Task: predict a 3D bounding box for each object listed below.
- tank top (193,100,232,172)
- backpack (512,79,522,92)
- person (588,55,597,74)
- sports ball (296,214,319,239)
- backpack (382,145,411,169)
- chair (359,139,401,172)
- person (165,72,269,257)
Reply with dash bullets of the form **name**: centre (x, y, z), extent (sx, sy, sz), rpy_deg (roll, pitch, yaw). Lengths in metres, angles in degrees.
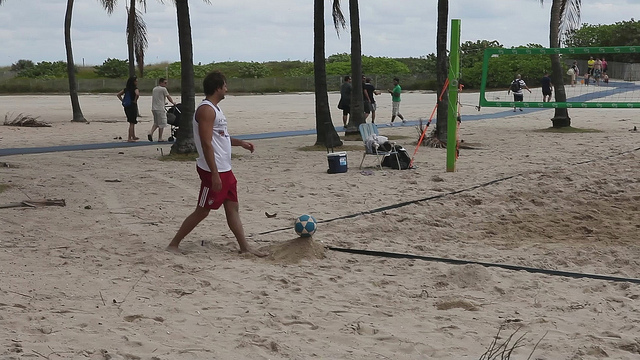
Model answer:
- **tank top**: centre (-1.397, -0.570, 6.636), extent (0.467, 0.921, 0.420), rpy_deg (-1, 15, -9)
- **backpack**: centre (10.389, -5.026, 26.821), extent (0.444, 0.511, 0.572), rpy_deg (13, -21, 28)
- **person**: centre (22.411, -9.356, 41.752), extent (0.781, 1.290, 2.691), rpy_deg (8, 15, 26)
- **sports ball**: centre (-0.182, 0.686, 7.285), extent (0.277, 0.238, 0.276), rpy_deg (-13, -36, -10)
- **backpack**: centre (1.822, -0.539, 12.006), extent (0.662, 0.540, 0.340), rpy_deg (3, 14, 8)
- **chair**: centre (1.491, -0.611, 12.379), extent (0.897, 0.952, 0.769), rpy_deg (-5, 13, -21)
- **person**: centre (-1.460, -0.217, 6.986), extent (1.232, 2.465, 1.092), rpy_deg (-3, 15, -14)
